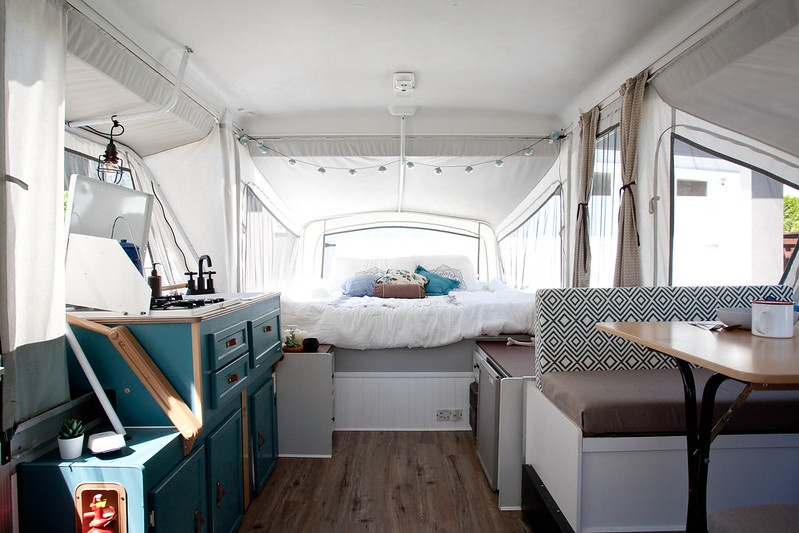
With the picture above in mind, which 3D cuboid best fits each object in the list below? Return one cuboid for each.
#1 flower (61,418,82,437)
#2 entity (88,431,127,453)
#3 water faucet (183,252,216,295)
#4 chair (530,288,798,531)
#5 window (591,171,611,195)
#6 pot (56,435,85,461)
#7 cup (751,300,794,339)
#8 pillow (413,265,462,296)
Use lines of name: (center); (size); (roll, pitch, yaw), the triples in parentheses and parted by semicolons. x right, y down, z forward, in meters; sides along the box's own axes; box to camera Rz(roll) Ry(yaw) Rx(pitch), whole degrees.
flower: (-1.429, 0.701, 2.242); (0.067, 0.077, 0.079); (6, -2, 28)
entity: (-1.272, 0.759, 2.234); (0.099, 0.044, 0.098); (3, -3, -41)
water faucet: (-1.171, 0.052, 3.042); (0.178, 0.226, 0.152); (-2, 0, -14)
chair: (1.337, 0.729, 3.010); (1.250, 1.030, 1.250); (-2, -1, 4)
window: (1.590, -0.665, 4.063); (0.113, 0.203, 0.206); (-1, 4, -24)
pot: (-1.417, 0.779, 2.221); (0.099, 0.077, 0.088); (0, 2, -18)
cup: (1.613, 0.218, 2.242); (0.178, 0.134, 0.141); (-3, 4, -24)
pillow: (0.354, 0.151, 5.422); (0.320, 0.098, 0.301); (28, 16, 30)
